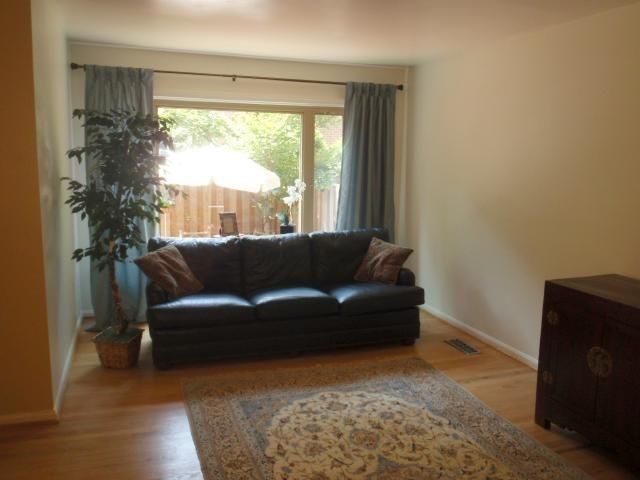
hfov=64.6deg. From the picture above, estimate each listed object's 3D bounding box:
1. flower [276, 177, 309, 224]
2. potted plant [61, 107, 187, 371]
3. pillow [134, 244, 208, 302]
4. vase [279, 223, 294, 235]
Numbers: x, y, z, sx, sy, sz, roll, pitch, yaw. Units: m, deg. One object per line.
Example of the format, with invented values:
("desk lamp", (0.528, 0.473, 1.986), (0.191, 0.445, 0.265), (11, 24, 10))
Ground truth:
("flower", (-0.348, -0.433, 5.763), (0.255, 0.503, 0.426), (4, 13, 24))
("potted plant", (-1.762, -0.115, 4.639), (0.956, 2.173, 1.328), (-7, 13, -24))
("pillow", (-1.333, 0.288, 4.517), (0.144, 0.485, 0.471), (-37, -19, 20))
("vase", (-0.367, -0.129, 5.603), (0.117, 0.114, 0.110), (2, 19, -2))
